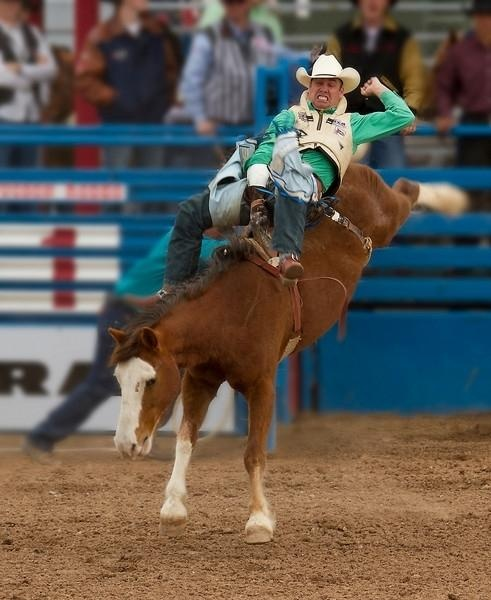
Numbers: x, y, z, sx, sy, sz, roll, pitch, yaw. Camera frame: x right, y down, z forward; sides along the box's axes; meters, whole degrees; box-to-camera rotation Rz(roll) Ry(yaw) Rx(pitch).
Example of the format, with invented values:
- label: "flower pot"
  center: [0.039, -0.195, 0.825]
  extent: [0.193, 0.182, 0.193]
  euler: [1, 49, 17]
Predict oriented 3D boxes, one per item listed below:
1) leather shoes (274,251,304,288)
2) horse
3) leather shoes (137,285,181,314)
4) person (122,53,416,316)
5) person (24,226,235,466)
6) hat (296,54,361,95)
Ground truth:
- label: "leather shoes"
  center: [0.212, -0.144, 5.357]
  extent: [0.101, 0.053, 0.160]
  euler: [9, 20, -18]
- label: "horse"
  center: [0.012, 0.225, 5.723]
  extent: [0.702, 1.745, 1.825]
  euler: [3, 10, 30]
- label: "leather shoes"
  center: [-0.400, 0.003, 5.581]
  extent: [0.096, 0.163, 0.047]
  euler: [52, -15, -30]
- label: "person"
  center: [0.087, -0.588, 5.568]
  extent: [1.035, 0.592, 1.503]
  euler: [26, 55, 19]
- label: "person"
  center: [-0.660, 0.330, 6.561]
  extent: [0.376, 1.403, 1.025]
  euler: [15, 1, 22]
- label: "hat"
  center: [0.440, -1.112, 5.722]
  extent: [0.240, 0.089, 0.236]
  euler: [2, -21, 6]
